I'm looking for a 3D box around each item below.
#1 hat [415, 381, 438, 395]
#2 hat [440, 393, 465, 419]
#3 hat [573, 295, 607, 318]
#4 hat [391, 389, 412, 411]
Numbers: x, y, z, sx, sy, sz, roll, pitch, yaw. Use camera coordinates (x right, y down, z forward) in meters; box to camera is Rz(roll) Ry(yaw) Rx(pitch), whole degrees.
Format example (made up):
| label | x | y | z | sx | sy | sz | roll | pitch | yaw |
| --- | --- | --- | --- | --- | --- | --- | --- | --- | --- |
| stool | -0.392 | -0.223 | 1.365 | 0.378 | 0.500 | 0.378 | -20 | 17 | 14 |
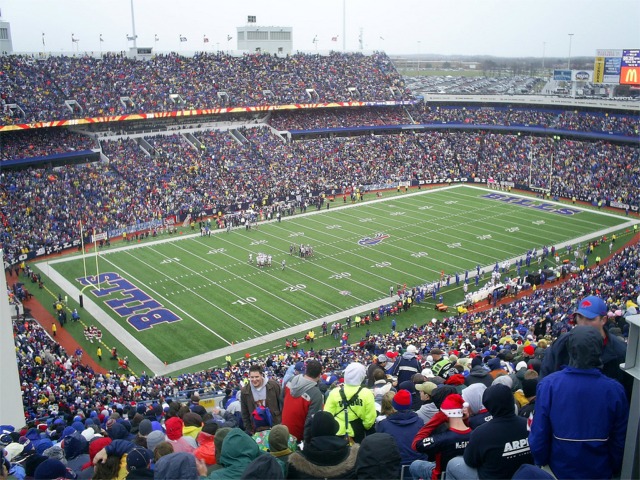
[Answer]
| label | x | y | z | sx | sy | sz | roll | pitch | yaw |
| --- | --- | --- | --- | --- | --- | --- | --- | --- | --- |
| hat | 1.746 | 2.412 | 10.889 | 0.350 | 0.197 | 0.354 | 1 | 16 | 17 |
| hat | 1.731 | 2.154 | 8.574 | 0.301 | 0.262 | 0.233 | 0 | -1 | 0 |
| hat | 3.482 | 0.838 | 8.365 | 0.373 | 0.198 | 0.236 | 3 | -4 | -43 |
| hat | 1.129 | 2.174 | 9.105 | 0.265 | 0.248 | 0.246 | -2 | 27 | 7 |
